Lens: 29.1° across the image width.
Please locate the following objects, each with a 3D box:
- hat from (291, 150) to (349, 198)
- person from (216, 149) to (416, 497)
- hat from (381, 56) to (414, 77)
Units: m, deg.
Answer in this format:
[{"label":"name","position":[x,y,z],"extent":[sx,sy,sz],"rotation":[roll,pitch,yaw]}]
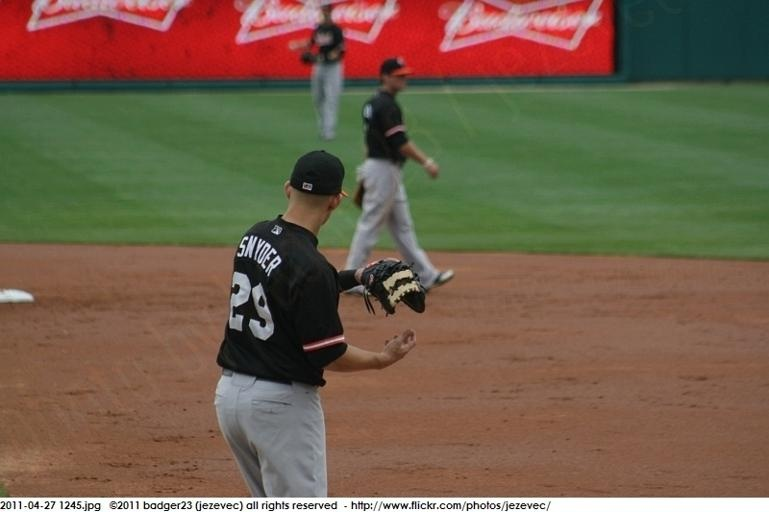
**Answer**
[{"label":"hat","position":[-0.641,-0.916,15.530],"extent":[0.591,0.392,0.749],"rotation":[11,15,18]},{"label":"person","position":[-0.940,0.740,15.239],"extent":[1.555,3.567,0.730],"rotation":[2,10,-6]},{"label":"hat","position":[0.150,-2.410,18.986],"extent":[0.349,0.154,0.230],"rotation":[-3,9,-23]}]
